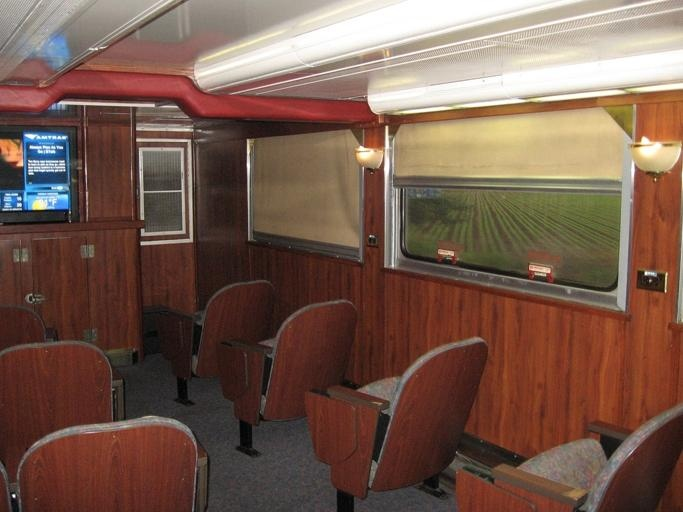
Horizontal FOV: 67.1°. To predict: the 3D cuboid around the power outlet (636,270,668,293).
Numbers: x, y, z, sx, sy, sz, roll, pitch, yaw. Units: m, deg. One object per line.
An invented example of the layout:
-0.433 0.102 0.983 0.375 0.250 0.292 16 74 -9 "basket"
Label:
1.829 0.144 3.020 0.113 0.143 0.214 0 3 -33 "power outlet"
